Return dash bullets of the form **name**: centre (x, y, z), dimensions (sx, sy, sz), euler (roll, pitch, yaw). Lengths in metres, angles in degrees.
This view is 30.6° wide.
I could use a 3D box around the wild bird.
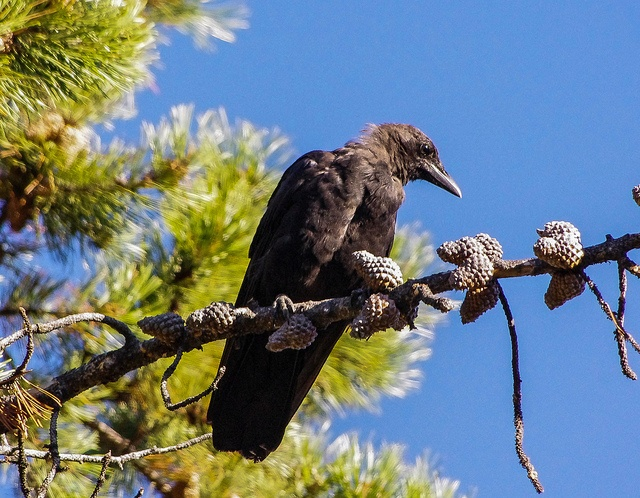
- **wild bird**: centre (-0.071, 0.307, 6.866), dimensions (1.383, 1.564, 0.588), euler (-25, -40, 1)
